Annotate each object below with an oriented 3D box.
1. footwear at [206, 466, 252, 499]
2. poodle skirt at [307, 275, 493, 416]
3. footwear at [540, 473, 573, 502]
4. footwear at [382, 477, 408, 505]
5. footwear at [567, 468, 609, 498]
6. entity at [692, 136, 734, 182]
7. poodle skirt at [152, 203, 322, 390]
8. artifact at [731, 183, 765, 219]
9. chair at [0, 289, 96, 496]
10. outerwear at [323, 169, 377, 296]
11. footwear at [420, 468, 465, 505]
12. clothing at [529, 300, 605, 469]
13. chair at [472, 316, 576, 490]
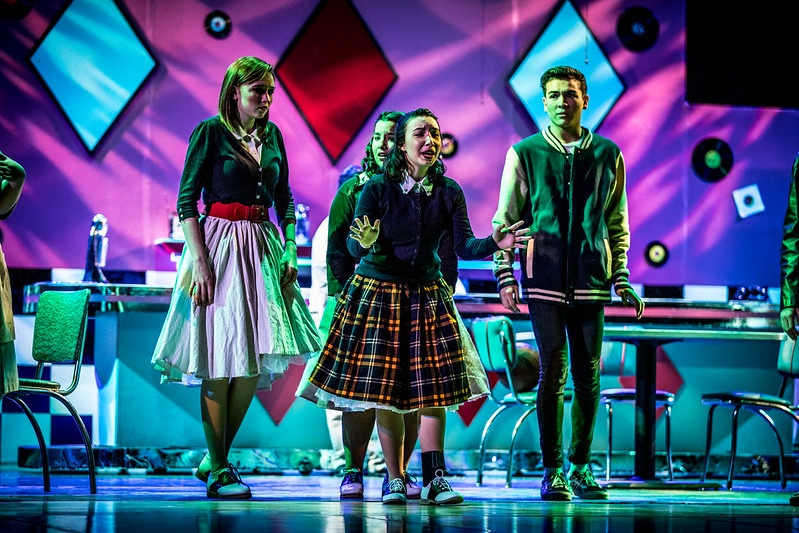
[{"bbox_3d":[-0.914,1.138,4.250,0.183,0.160,0.397,9,-14,-38],"label":"footwear"},{"bbox_3d":[-0.046,0.351,4.362,0.933,0.794,0.613,1,-3,-16],"label":"poodle skirt"},{"bbox_3d":[0.846,1.184,4.382,0.165,0.148,0.187,-4,-14,11],"label":"footwear"},{"bbox_3d":[-0.027,1.131,4.097,0.124,0.126,0.135,-1,-13,-2],"label":"footwear"},{"bbox_3d":[1.021,1.185,4.424,0.202,0.164,0.166,-4,-13,11],"label":"footwear"},{"bbox_3d":[2.882,-1.012,7.494,0.421,0.157,0.434,-21,-29,-4],"label":"entity"},{"bbox_3d":[-0.864,0.357,4.620,1.190,1.224,0.796,5,-15,-27],"label":"poodle skirt"},{"bbox_3d":[3.210,-0.605,7.492,0.283,0.295,0.112,-18,2,0],"label":"artifact"},{"bbox_3d":[-2.049,0.703,4.831,0.531,1.267,0.656,3,-14,-20],"label":"chair"},{"bbox_3d":[-0.334,-0.185,4.679,0.195,0.589,0.429,1,12,0],"label":"outerwear"},{"bbox_3d":[0.204,1.133,4.144,0.102,0.145,0.267,5,-15,-26],"label":"footwear"},{"bbox_3d":[0.934,0.645,4.473,0.400,0.899,0.299,-3,-13,6],"label":"clothing"},{"bbox_3d":[0.627,0.990,5.344,0.711,1.053,0.685,-20,-20,-1],"label":"chair"}]
